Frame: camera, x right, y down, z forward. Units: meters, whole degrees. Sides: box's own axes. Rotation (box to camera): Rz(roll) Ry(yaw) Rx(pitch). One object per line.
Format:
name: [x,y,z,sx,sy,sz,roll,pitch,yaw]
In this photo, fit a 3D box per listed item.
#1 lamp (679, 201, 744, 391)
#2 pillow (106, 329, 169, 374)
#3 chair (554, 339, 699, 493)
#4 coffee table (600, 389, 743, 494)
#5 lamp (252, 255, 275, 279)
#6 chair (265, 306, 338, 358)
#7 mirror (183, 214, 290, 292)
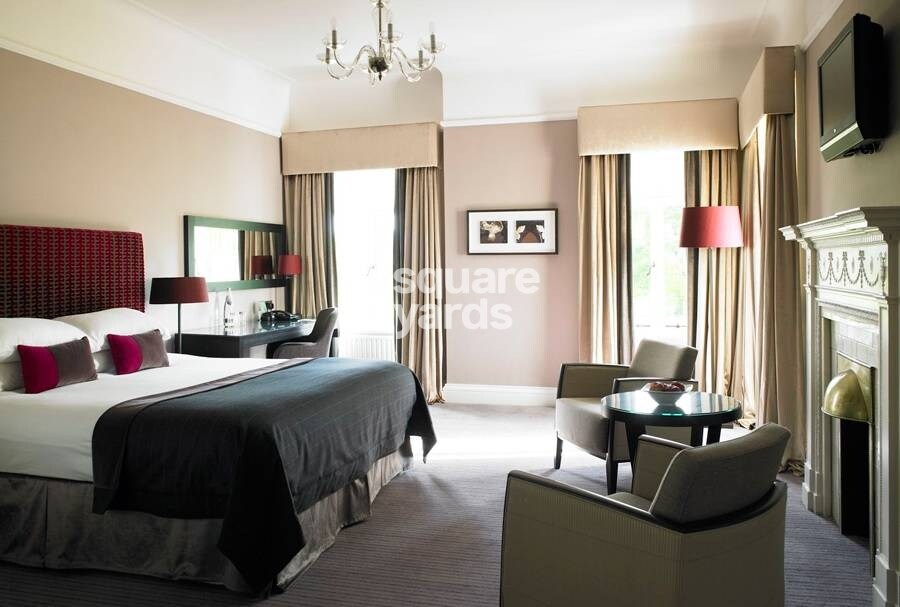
lamp: [2.626,-0.243,6.623,0.555,1.508,0.680,5,14,24]
pillow: [-2.599,0.391,5.488,0.176,0.359,0.501,-10,1,22]
chair: [1.450,0.885,5.440,1.012,1.134,0.921,3,1,-33]
coffee table: [1.654,0.986,4.965,1.047,0.830,1.084,-3,18,14]
lamp: [-2.240,-0.459,7.803,0.225,0.393,0.233,-6,15,-21]
chair: [-1.575,0.292,7.005,0.628,0.792,0.531,1,-2,-10]
mirror: [-2.396,-0.550,7.482,0.075,0.864,1.677,-7,-2,27]
